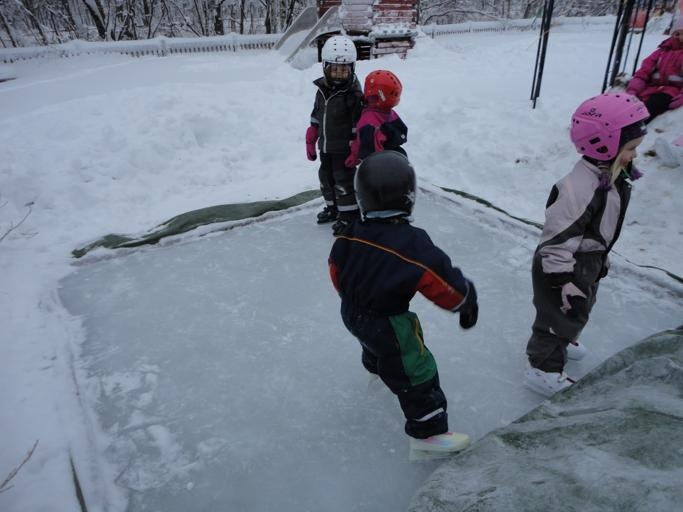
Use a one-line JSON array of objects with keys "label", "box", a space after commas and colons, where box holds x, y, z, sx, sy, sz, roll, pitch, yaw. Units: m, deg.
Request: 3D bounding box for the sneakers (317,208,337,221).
[{"label": "sneakers", "box": [-0.179, -0.456, 6.334, 0.218, 0.135, 0.115, -7, 15, -30]}]

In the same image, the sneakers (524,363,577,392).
[{"label": "sneakers", "box": [1.454, 0.853, 4.150, 0.386, 0.236, 0.144, -1, 24, 35]}]

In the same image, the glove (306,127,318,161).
[{"label": "glove", "box": [-0.331, -1.234, 6.282, 0.207, 0.329, 0.111, 2, 23, 4]}]

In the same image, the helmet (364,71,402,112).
[{"label": "helmet", "box": [0.391, -1.543, 5.454, 0.315, 0.349, 0.381, -10, 70, -16]}]

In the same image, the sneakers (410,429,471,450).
[{"label": "sneakers", "box": [0.654, 1.205, 3.809, 0.408, 0.159, 0.142, -5, 15, 5]}]

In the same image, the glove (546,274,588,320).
[{"label": "glove", "box": [1.535, 0.265, 3.901, 0.211, 0.200, 0.176, -22, 39, -4]}]

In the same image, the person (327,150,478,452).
[{"label": "person", "box": [0.389, 0.350, 3.565, 0.561, 1.793, 0.974, -28, 41, -35]}]

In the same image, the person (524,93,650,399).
[{"label": "person", "box": [1.612, -0.056, 3.949, 0.508, 1.907, 0.973, 16, 36, 24]}]

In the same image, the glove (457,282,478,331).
[{"label": "glove", "box": [0.763, 0.302, 3.476, 0.176, 0.242, 0.073, -2, 1, 24]}]

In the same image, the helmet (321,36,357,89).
[{"label": "helmet", "box": [-0.030, -1.965, 5.786, 0.372, 0.475, 0.471, -3, 46, -1]}]

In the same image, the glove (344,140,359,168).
[{"label": "glove", "box": [0.116, -1.021, 5.796, 0.075, 0.222, 0.164, -4, 24, -18]}]
